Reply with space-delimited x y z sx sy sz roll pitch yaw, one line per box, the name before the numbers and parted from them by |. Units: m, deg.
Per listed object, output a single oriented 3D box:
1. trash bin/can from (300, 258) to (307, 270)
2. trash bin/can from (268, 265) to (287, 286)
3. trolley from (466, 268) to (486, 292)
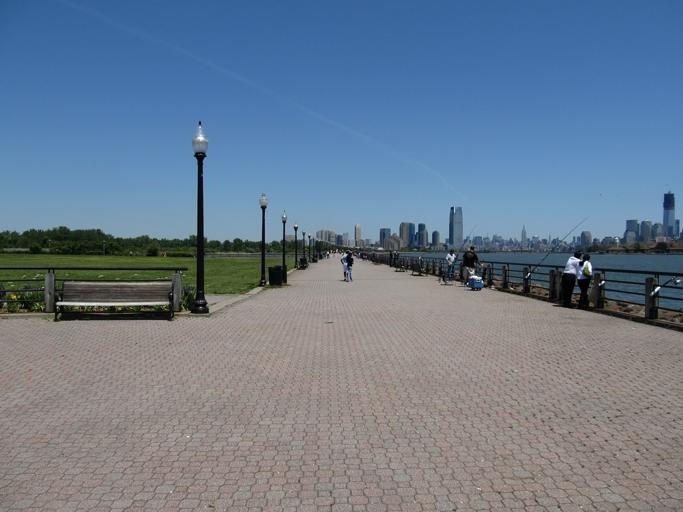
trash bin/can | -3.397 0.655 54.339 0.776 0.967 0.852 1 -6 -6
trash bin/can | -3.116 0.927 29.487 0.743 1.375 1.367 -2 2 2
trolley | 6.111 1.075 26.914 0.595 1.036 1.071 0 -8 -2
